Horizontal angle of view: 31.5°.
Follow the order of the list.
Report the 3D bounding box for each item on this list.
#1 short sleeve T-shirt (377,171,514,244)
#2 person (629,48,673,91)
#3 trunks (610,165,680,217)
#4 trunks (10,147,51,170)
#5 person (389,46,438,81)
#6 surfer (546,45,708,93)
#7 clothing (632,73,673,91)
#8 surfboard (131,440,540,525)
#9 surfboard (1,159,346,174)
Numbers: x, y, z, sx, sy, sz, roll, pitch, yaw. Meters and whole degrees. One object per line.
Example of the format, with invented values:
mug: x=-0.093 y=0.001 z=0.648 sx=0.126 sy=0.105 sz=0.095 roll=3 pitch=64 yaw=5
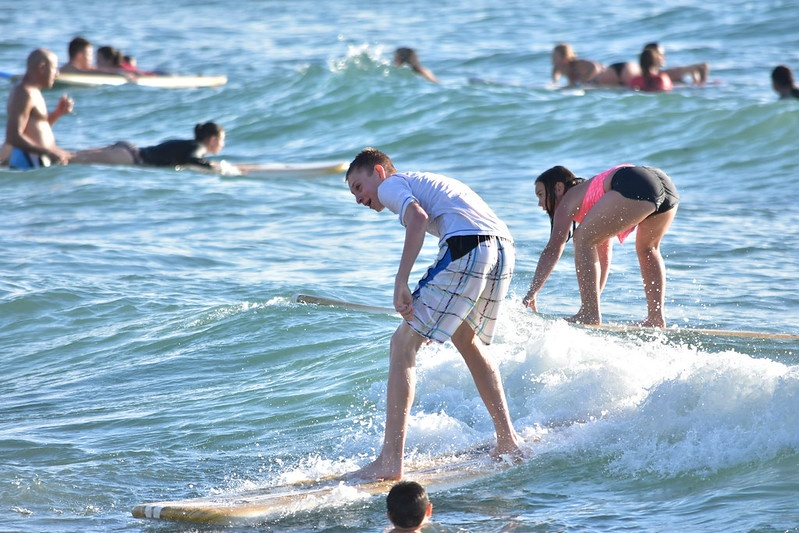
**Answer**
short sleeve T-shirt: x=0.577 y=-0.833 z=18.374 sx=1.322 sy=0.555 sz=1.121 roll=4 pitch=0 yaw=21
person: x=4.971 y=-3.962 z=28.006 sx=0.532 sy=0.900 sz=1.052 roll=-11 pitch=16 yaw=-26
trunks: x=3.492 y=-1.119 z=19.881 sx=0.881 sy=0.373 sz=0.670 roll=10 pitch=-16 yaw=33
trunks: x=-6.619 y=-1.946 z=25.429 sx=0.544 sy=0.466 sz=0.448 roll=9 pitch=26 yaw=12
person: x=0.306 y=-4.409 z=30.693 sx=1.125 sy=0.474 sz=0.590 roll=30 pitch=0 yaw=3
surfer: x=4.451 y=-3.992 z=28.630 sx=2.281 sy=0.761 sz=1.336 roll=0 pitch=6 yaw=19
clothing: x=4.978 y=-3.647 z=27.864 sx=0.810 sy=0.329 sz=0.416 roll=0 pitch=11 yaw=7
surfboard: x=-0.483 y=2.894 z=18.482 sx=5.781 sy=0.528 sz=1.462 roll=-4 pitch=6 yaw=-23
surfboard: x=-4.330 y=-1.855 z=25.957 sx=4.269 sy=0.292 sz=0.677 roll=1 pitch=10 yaw=2
